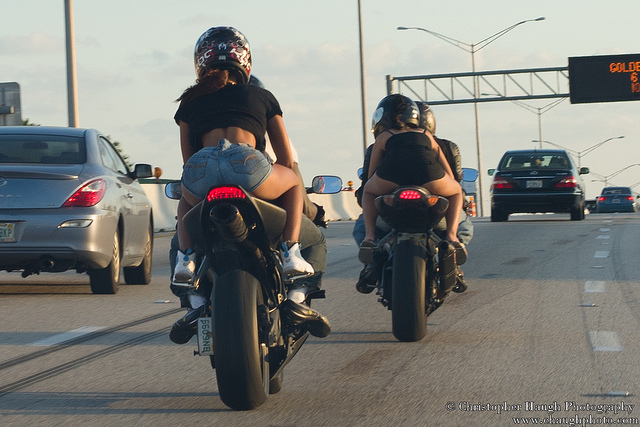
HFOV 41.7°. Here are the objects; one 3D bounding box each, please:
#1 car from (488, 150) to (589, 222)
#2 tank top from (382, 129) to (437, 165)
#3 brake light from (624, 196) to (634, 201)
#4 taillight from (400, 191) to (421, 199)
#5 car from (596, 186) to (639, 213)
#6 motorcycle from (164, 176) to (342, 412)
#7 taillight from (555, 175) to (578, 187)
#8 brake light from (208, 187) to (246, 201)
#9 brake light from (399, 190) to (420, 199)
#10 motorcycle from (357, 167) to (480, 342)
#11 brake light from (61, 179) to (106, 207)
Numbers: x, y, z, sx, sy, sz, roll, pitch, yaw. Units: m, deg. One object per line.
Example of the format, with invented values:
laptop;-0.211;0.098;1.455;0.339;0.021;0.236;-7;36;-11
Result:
car;6.005;-0.863;23.295;2.492;1.841;1.532;0;5;7
tank top;0.853;-0.644;8.085;0.508;0.324;0.531;2;17;5
brake light;17.177;-0.862;46.638;0.301;0.199;0.467;1;-3;30
taillight;0.823;-0.174;7.662;0.187;0.069;0.021;0;6;3
car;15.592;-0.672;44.094;1.471;0.954;3.123;0;3;15
motorcycle;-0.407;0.574;6.194;0.659;1.642;1.177;3;6;33
taillight;6.657;-0.895;22.659;0.572;0.326;0.111;-2;6;-15
brake light;-0.635;-0.136;5.671;0.243;0.088;0.044;-2;6;-9
brake light;0.814;-0.177;7.661;0.114;0.091;0.026;11;-28;12
motorcycle;0.935;0.446;7.924;0.879;1.457;0.757;-1;5;-1
brake light;-2.765;-0.243;9.936;0.180;0.313;0.571;3;7;36
